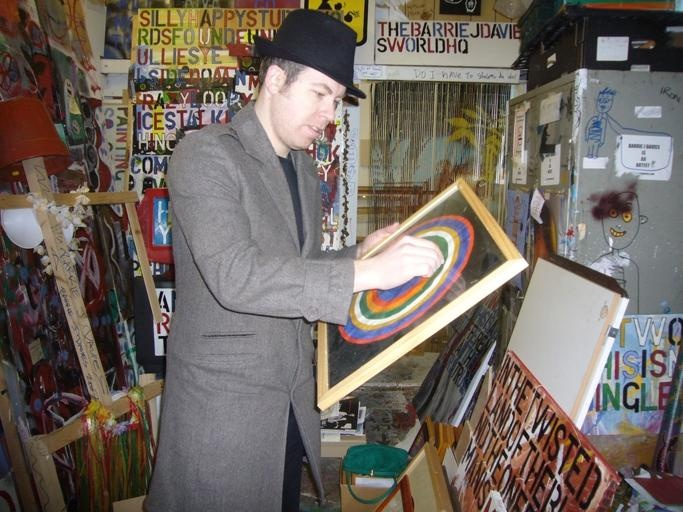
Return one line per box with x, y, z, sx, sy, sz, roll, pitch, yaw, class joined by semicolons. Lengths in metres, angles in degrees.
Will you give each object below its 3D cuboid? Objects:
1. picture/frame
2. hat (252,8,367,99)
0.221;0.091;1.902;0.606;0.738;0.698;1;7;-3;picture/frame
-0.123;-0.761;1.937;0.291;0.189;0.288;21;8;5;hat
